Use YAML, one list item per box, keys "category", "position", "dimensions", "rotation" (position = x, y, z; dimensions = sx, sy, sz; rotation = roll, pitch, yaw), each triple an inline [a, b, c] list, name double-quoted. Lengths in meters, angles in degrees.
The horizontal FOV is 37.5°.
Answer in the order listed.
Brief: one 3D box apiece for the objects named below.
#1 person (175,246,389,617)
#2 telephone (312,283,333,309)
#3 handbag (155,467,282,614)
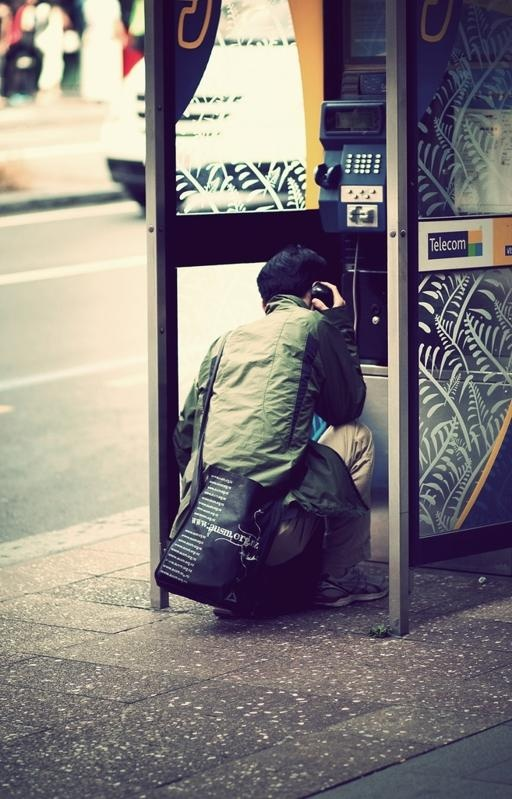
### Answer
- category: "person"
  position: [0.027, 0.126, 3.367]
  dimensions: [0.837, 1.624, 0.819]
  rotation: [2, 4, 36]
- category: "telephone"
  position: [0.328, -0.516, 3.737]
  dimensions: [0.106, 0.132, 0.096]
  rotation: [-1, 1, 13]
- category: "handbag"
  position: [-0.133, 0.543, 2.960]
  dimensions: [0.404, 0.544, 0.284]
  rotation: [23, -7, 5]
